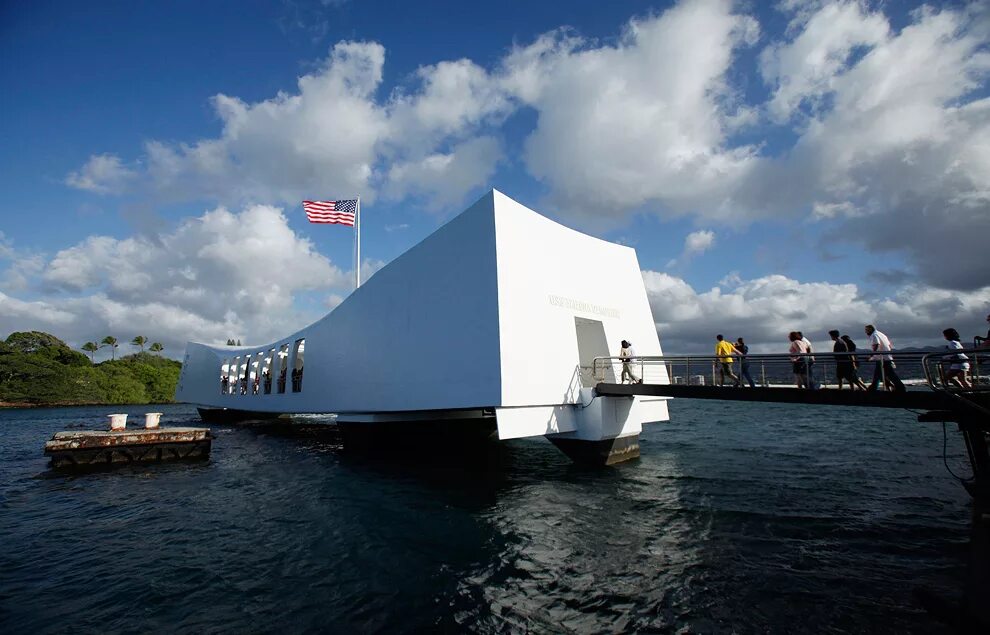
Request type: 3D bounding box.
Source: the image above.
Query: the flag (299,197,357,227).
[{"bbox_3d":[-9.047,-5.633,25.299,1.857,1.671,3.766,-1,0,7],"label":"flag"}]

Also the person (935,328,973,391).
[{"bbox_3d":[10.900,0.985,11.002,0.422,1.302,4.404,-1,0,44],"label":"person"}]
